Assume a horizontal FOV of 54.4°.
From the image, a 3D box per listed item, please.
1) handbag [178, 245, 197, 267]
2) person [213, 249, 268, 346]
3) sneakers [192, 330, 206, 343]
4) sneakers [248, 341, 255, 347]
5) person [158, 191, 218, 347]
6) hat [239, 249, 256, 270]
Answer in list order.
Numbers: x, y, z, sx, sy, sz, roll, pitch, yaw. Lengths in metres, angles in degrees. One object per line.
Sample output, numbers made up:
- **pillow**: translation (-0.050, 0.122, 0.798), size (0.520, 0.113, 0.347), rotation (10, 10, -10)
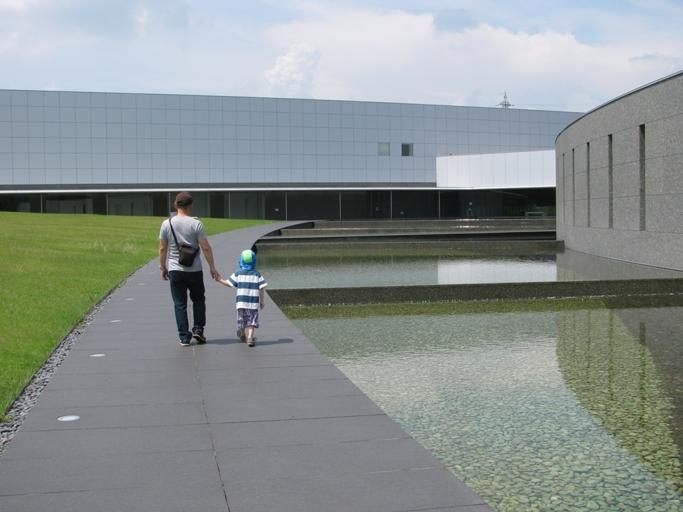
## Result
- **handbag**: translation (-1.913, 0.009, 8.256), size (0.203, 0.251, 0.257), rotation (6, -11, -7)
- **person**: translation (-1.318, 0.492, 8.982), size (0.561, 1.211, 1.394), rotation (-1, 7, -9)
- **sneakers**: translation (-1.837, 1.052, 8.569), size (0.094, 0.120, 0.260), rotation (8, -12, 12)
- **sneakers**: translation (-1.146, 1.103, 8.460), size (0.090, 0.073, 0.177), rotation (-1, 7, -10)
- **person**: translation (-1.961, 0.161, 8.546), size (0.689, 1.949, 0.937), rotation (-1, 7, -14)
- **hat**: translation (-1.220, 0.041, 8.706), size (0.170, 0.167, 0.295), rotation (2, 10, -9)
